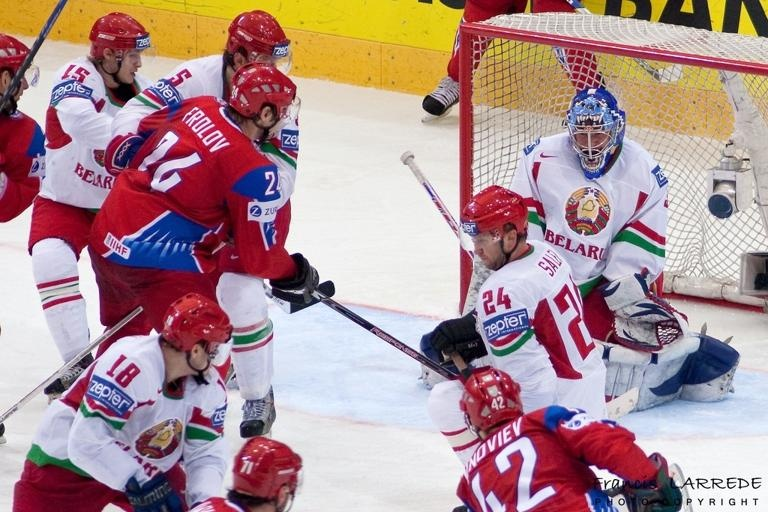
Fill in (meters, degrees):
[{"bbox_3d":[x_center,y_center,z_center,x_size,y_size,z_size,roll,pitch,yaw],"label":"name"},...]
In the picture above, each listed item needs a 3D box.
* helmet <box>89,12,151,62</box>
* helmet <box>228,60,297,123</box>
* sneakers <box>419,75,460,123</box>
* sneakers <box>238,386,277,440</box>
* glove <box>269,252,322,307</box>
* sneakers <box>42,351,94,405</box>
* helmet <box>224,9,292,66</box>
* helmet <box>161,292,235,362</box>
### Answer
[{"bbox_3d":[-1.338,-1.128,4.748,0.298,0.227,0.220,7,17,1],"label":"helmet"},{"bbox_3d":[-0.533,-0.700,4.043,0.278,0.204,0.220,-16,39,-18],"label":"helmet"},{"bbox_3d":[0.494,-1.351,7.993,0.207,0.239,0.569,36,41,6],"label":"sneakers"},{"bbox_3d":[-0.563,0.743,4.394,0.120,0.162,0.350,-6,9,7],"label":"sneakers"},{"bbox_3d":[-0.391,0.122,4.396,0.193,0.201,0.251,-28,9,9],"label":"glove"},{"bbox_3d":[-1.438,0.558,4.191,0.110,0.323,0.141,45,9,28],"label":"sneakers"},{"bbox_3d":[-0.614,-1.091,4.593,0.290,0.256,0.233,3,24,7],"label":"helmet"},{"bbox_3d":[-0.698,0.252,3.405,0.245,0.212,0.179,-2,24,-23],"label":"helmet"}]
